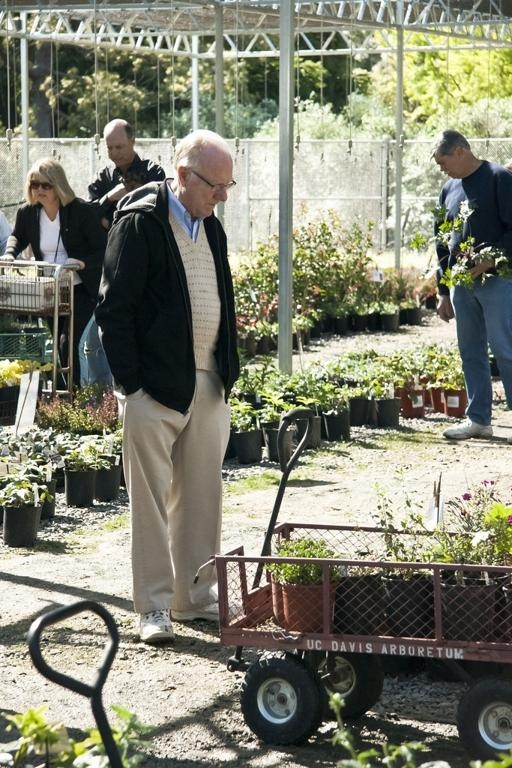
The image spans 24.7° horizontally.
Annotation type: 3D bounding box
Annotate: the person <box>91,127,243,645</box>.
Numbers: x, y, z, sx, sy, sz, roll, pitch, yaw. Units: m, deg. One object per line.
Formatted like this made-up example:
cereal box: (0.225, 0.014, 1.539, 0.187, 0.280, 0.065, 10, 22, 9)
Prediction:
person: (-0.287, 0.014, 3.925, 0.447, 1.671, 0.480, -1, 5, -1)

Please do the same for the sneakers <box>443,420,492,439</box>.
sneakers: (1.334, 0.293, 7.420, 0.309, 0.159, 0.122, 3, -1, -4)
